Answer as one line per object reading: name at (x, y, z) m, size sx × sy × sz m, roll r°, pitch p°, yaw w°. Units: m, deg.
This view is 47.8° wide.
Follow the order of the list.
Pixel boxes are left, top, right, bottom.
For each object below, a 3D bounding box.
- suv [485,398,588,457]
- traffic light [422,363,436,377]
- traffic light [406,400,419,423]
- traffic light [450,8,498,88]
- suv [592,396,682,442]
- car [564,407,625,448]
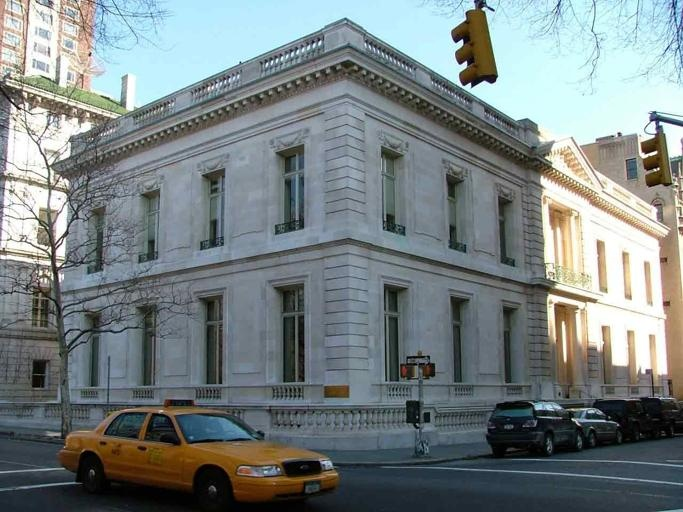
suv at (7.534, 6.623, 29.667) m, size 3.898 × 2.027 × 1.365 m, roll 8°, pitch -17°, yaw -33°
traffic light at (3.159, 4.131, 28.104) m, size 0.443 × 0.591 × 0.791 m, roll 1°, pitch -8°, yaw 3°
traffic light at (2.644, 5.692, 28.130) m, size 0.501 × 0.847 × 0.237 m, roll -6°, pitch -15°, yaw 19°
traffic light at (2.990, -4.711, 17.358) m, size 0.896 × 1.882 × 0.629 m, roll -4°, pitch -14°, yaw 12°
suv at (14.862, 8.177, 38.621) m, size 2.291 × 1.868 × 6.310 m, roll -7°, pitch -9°, yaw 44°
car at (11.091, 7.407, 33.533) m, size 3.395 × 1.242 × 1.554 m, roll 10°, pitch -13°, yaw -42°
